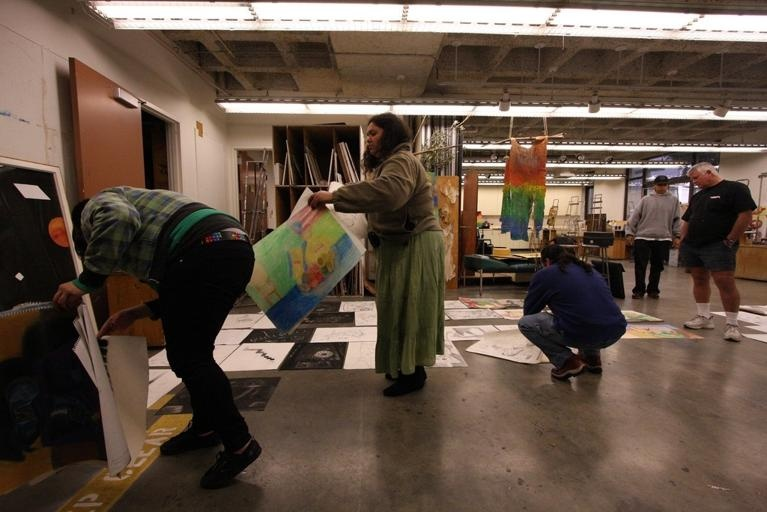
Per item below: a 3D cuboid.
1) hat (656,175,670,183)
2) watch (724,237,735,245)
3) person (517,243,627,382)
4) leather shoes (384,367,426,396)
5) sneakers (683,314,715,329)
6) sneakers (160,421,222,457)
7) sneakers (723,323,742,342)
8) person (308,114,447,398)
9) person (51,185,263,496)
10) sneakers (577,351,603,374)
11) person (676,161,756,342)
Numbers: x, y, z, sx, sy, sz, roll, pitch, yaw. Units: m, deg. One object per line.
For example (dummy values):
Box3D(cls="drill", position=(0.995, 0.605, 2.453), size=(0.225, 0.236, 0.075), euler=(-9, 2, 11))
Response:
Box3D(cls="hat", position=(4.032, -1.081, 6.665), size=(0.149, 0.101, 0.194), euler=(2, 6, 26))
Box3D(cls="watch", position=(3.821, -0.155, 5.053), size=(0.082, 0.054, 0.077), euler=(1, 17, 37))
Box3D(cls="person", position=(1.905, 0.481, 4.520), size=(0.981, 1.270, 0.877), euler=(-2, -13, -32))
Box3D(cls="leather shoes", position=(0.212, 1.075, 4.095), size=(0.427, 0.294, 0.166), euler=(-3, 6, -15))
Box3D(cls="sneakers", position=(3.681, 0.774, 5.424), size=(0.403, 0.177, 0.144), euler=(-1, -1, 1))
Box3D(cls="sneakers", position=(-1.465, 1.404, 3.619), size=(0.488, 0.214, 0.175), euler=(2, 3, -18))
Box3D(cls="sneakers", position=(3.824, 0.826, 5.017), size=(0.154, 0.167, 0.238), euler=(4, 7, 39))
Box3D(cls="person", position=(0.099, 0.010, 3.889), size=(0.872, 2.384, 0.562), euler=(0, 6, 3))
Box3D(cls="person", position=(-1.757, 0.576, 3.499), size=(1.558, 2.268, 1.067), euler=(-3, 2, 21))
Box3D(cls="sneakers", position=(1.969, 0.988, 4.414), size=(0.133, 0.151, 0.350), euler=(-1, 8, 4))
Box3D(cls="person", position=(3.783, -0.093, 5.244), size=(0.667, 1.945, 0.703), euler=(3, 7, 33))
